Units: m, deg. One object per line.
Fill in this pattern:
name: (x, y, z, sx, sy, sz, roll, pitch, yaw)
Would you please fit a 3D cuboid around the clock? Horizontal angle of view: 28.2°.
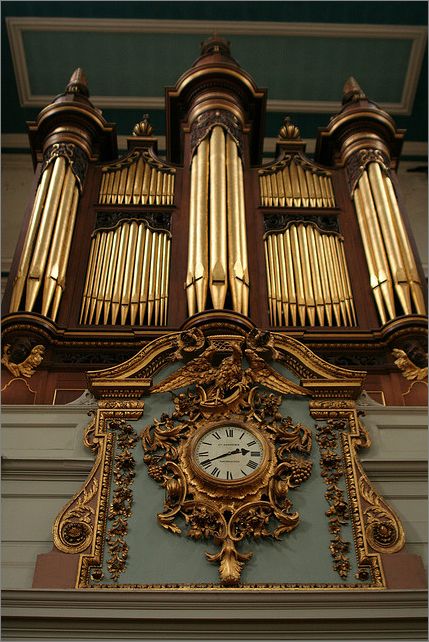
clock: (0.087, 0.733, 4.652, 0.405, 0.445, 0.039, 3, -51, 0)
